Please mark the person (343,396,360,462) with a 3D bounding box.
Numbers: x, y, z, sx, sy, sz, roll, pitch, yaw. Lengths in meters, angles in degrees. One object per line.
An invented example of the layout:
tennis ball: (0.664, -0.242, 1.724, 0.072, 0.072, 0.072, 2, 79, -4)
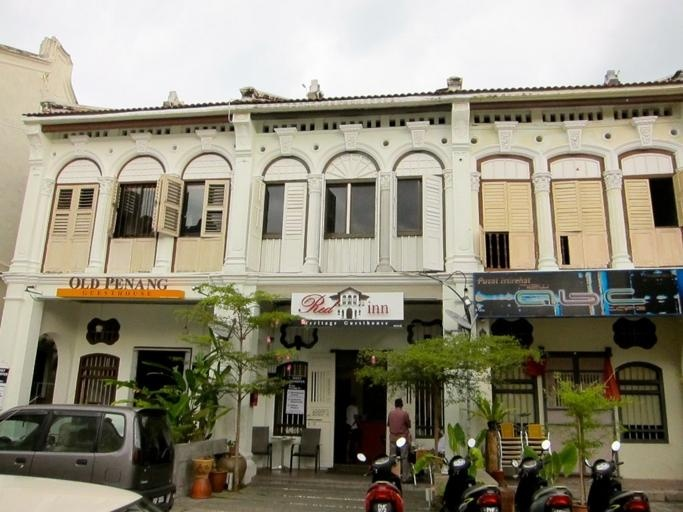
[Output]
person: (0.317, 5.239, 15.646, 0.398, 1.871, 0.692, 0, -16, -2)
